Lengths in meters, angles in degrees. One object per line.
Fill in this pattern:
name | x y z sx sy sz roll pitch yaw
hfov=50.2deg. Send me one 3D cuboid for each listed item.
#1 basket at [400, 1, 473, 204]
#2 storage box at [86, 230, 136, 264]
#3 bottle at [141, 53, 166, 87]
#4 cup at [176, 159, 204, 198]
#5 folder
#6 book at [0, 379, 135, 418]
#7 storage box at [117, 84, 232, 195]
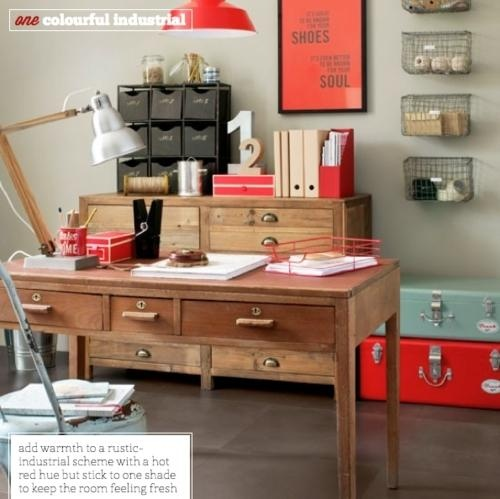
basket | 1.128 -0.904 3.235 0.439 1.226 0.296 1 5 22
storage box | -0.552 -0.018 2.067 0.134 0.079 0.181 5 14 10
bottle | -0.651 -1.239 3.726 0.202 0.216 0.198 0 1 5
cup | -0.404 -0.470 3.500 0.180 0.227 0.152 -1 6 -9
folder | 0.329 -0.521 3.425 0.348 0.444 0.463 2 6 15
book | -0.446 0.347 1.259 0.324 0.044 0.244 -1 4 -6
storage box | -0.568 -0.767 3.719 0.718 0.706 0.246 1 10 -1
